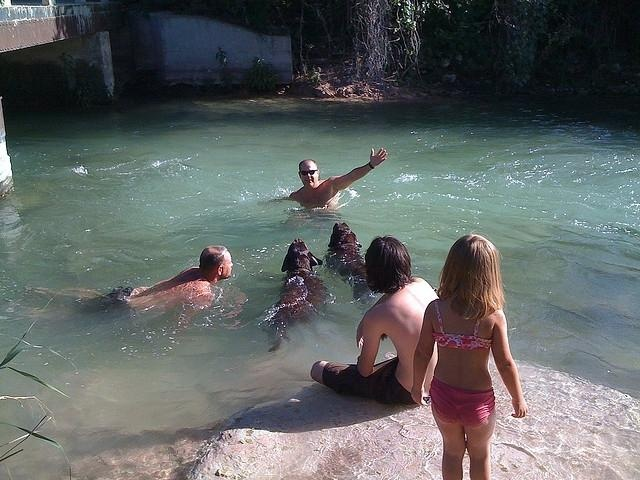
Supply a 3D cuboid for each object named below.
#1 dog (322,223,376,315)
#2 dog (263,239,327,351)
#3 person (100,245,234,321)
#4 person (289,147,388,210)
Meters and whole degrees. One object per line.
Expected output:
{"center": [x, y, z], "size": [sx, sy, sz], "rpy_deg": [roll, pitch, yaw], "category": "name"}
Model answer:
{"center": [0.393, 0.336, 7.584], "size": [0.423, 0.622, 1.355], "rpy_deg": [-32, 40, 18], "category": "dog"}
{"center": [-0.247, 0.694, 7.120], "size": [0.505, 0.843, 1.537], "rpy_deg": [-27, 30, 34], "category": "dog"}
{"center": [-1.822, 0.616, 6.918], "size": [1.820, 0.996, 0.694], "rpy_deg": [-5, 52, -27], "category": "person"}
{"center": [0.168, -1.017, 9.326], "size": [0.685, 0.998, 2.148], "rpy_deg": [-16, 21, -37], "category": "person"}
